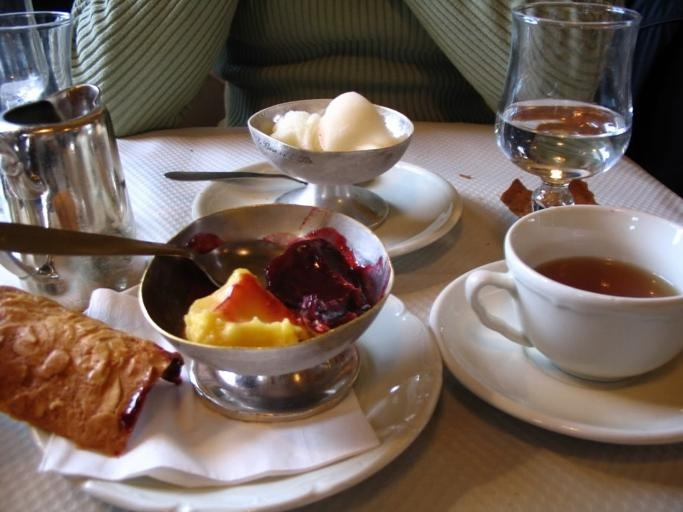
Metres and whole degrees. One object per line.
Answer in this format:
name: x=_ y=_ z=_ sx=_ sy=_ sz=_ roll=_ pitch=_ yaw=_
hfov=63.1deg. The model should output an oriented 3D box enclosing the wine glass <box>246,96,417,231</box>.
wine glass: x=-0.011 y=-0.096 z=0.772 sx=0.198 sy=0.123 sz=0.201 roll=27 pitch=37 yaw=36
